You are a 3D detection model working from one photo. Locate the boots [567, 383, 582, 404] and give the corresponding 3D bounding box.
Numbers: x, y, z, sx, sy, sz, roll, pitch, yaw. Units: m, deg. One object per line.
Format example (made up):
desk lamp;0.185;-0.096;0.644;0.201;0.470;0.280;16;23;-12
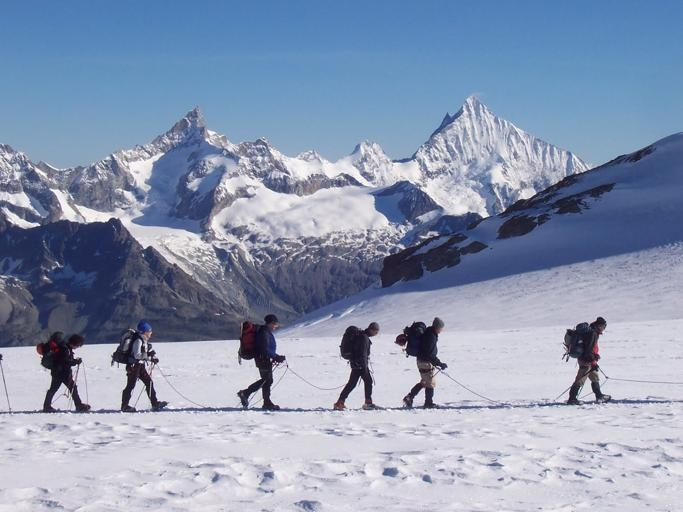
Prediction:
boots;9.424;5.586;38.707;0.555;0.751;0.807;-3;0;19
